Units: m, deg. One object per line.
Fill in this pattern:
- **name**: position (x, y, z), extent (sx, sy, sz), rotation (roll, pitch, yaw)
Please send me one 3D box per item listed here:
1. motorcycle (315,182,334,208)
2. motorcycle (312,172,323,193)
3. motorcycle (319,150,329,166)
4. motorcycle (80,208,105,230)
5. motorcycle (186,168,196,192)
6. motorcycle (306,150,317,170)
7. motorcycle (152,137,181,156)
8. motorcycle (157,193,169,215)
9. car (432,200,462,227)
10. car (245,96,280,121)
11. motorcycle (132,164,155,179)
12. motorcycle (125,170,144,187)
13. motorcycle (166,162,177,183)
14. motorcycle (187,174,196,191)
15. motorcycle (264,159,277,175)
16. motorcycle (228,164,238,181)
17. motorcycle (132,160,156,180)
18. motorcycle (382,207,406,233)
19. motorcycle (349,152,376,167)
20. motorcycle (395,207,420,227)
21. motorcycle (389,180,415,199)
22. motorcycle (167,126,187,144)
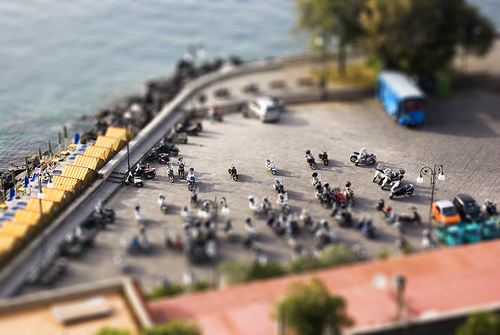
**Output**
- **motorcycle**: position (6.038, 2.156, 49.260), extent (1.096, 1.377, 1.445), rotation (13, 39, 26)
- **motorcycle**: position (5.516, 1.194, 50.207), extent (0.772, 0.930, 1.571), rotation (-3, 73, 7)
- **motorcycle**: position (6.518, -0.899, 53.757), extent (0.619, 0.724, 1.278), rotation (-3, 25, -13)
- **motorcycle**: position (-12.364, 4.102, 47.526), extent (1.425, 0.447, 1.420), rotation (-38, 56, -25)
- **motorcycle**: position (-4.914, 0.937, 51.067), extent (0.878, 1.080, 1.701), rotation (2, 47, -1)
- **motorcycle**: position (5.270, -0.839, 53.596), extent (0.701, 0.966, 1.756), rotation (-23, 38, 11)
- **motorcycle**: position (-7.445, -1.895, 55.871), extent (1.978, 1.311, 1.251), rotation (17, 28, 11)
- **motorcycle**: position (-6.977, 2.777, 48.940), extent (0.713, 1.785, 0.990), rotation (-14, -7, 5)
- **car**: position (15.162, 3.492, 47.467), extent (1.650, 1.485, 2.971), rotation (-8, 21, -8)
- **car**: position (1.183, -5.890, 60.882), extent (1.956, 2.107, 5.035), rotation (-2, 5, -17)
- **motorcycle**: position (-9.013, 0.309, 52.208), extent (1.461, 0.950, 0.916), rotation (10, 1, 7)
- **motorcycle**: position (-9.648, 0.883, 51.775), extent (1.450, 1.101, 0.859), rotation (15, 37, 16)
- **motorcycle**: position (-6.759, 0.170, 52.340), extent (0.680, 0.984, 1.690), rotation (3, 33, -10)
- **motorcycle**: position (-4.889, 1.242, 50.890), extent (0.572, 0.707, 1.209), rotation (3, 24, -2)
- **motorcycle**: position (1.680, -0.240, 53.195), extent (0.586, 0.845, 1.599), rotation (-25, 38, -18)
- **motorcycle**: position (-1.439, 0.350, 52.251), extent (0.615, 0.829, 1.319), rotation (-12, 46, -16)
- **motorcycle**: position (-8.953, 0.249, 52.718), extent (1.744, 1.192, 1.102), rotation (8, 10, 9)
- **motorcycle**: position (11.130, 3.999, 46.950), extent (0.965, 1.124, 2.081), rotation (-19, 37, -18)
- **motorcycle**: position (9.949, -0.972, 53.992), extent (2.093, 1.271, 1.118), rotation (10, 32, -2)
- **motorcycle**: position (12.062, 3.983, 47.358), extent (1.935, 1.352, 0.995), rotation (-12, 41, -6)
- **motorcycle**: position (12.261, 1.694, 49.957), extent (2.024, 1.267, 1.017), rotation (-5, 31, 1)
- **motorcycle**: position (-6.876, -2.956, 57.517), extent (1.866, 0.931, 1.130), rotation (20, -4, 21)
